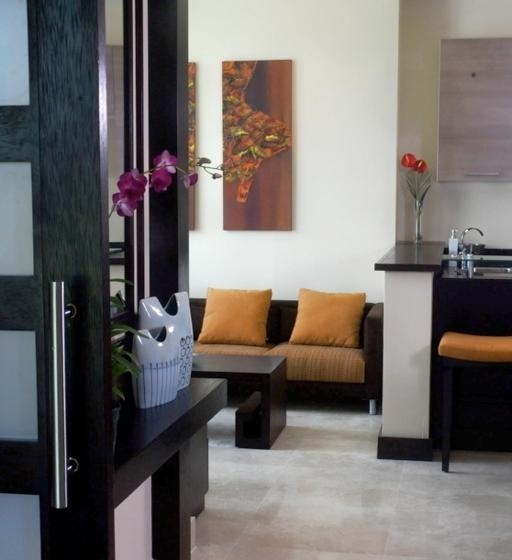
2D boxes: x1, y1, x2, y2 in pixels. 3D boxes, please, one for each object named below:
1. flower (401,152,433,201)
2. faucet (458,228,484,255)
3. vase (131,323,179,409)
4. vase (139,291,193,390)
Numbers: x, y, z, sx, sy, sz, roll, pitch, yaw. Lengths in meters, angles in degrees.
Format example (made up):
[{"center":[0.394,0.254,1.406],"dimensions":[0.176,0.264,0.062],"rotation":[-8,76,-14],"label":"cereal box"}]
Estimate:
[{"center":[1.423,-0.919,5.038],"dimensions":[0.271,0.460,0.395],"rotation":[0,2,19],"label":"flower"},{"center":[1.838,-0.356,4.843],"dimensions":[0.202,0.229,0.713],"rotation":[0,2,23],"label":"faucet"},{"center":[-0.290,0.252,1.629],"dimensions":[0.094,0.304,0.181],"rotation":[2,4,33],"label":"vase"},{"center":[-0.270,0.189,1.700],"dimensions":[0.094,0.397,0.267],"rotation":[0,0,21],"label":"vase"}]
